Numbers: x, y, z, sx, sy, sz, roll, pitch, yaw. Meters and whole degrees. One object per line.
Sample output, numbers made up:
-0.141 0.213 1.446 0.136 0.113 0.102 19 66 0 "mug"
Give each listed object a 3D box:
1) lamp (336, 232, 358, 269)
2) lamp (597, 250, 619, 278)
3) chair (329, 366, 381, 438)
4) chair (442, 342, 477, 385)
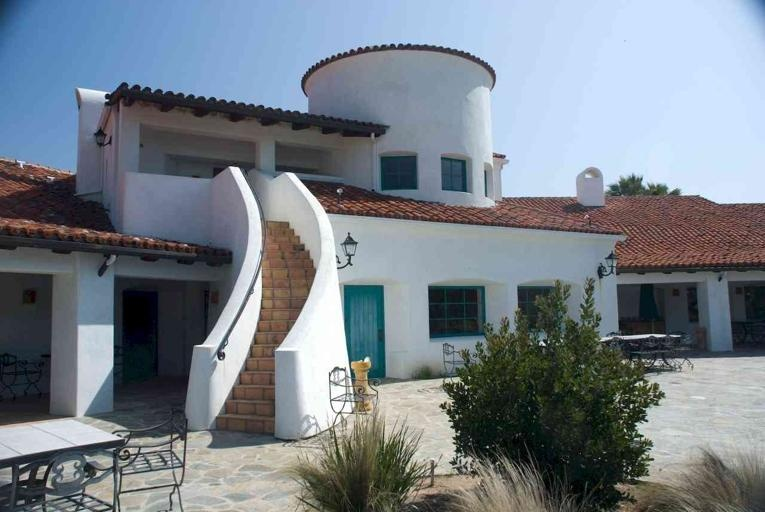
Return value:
-0.957 -0.168 17.898 0.540 1.048 0.790 1 -7 -3 "lamp"
7.750 0.291 22.662 0.433 0.986 1.175 -5 -9 42 "lamp"
-0.653 3.198 15.069 0.780 1.401 1.010 -2 0 13 "chair"
2.105 3.023 19.234 0.702 0.935 0.485 -2 -8 44 "chair"
